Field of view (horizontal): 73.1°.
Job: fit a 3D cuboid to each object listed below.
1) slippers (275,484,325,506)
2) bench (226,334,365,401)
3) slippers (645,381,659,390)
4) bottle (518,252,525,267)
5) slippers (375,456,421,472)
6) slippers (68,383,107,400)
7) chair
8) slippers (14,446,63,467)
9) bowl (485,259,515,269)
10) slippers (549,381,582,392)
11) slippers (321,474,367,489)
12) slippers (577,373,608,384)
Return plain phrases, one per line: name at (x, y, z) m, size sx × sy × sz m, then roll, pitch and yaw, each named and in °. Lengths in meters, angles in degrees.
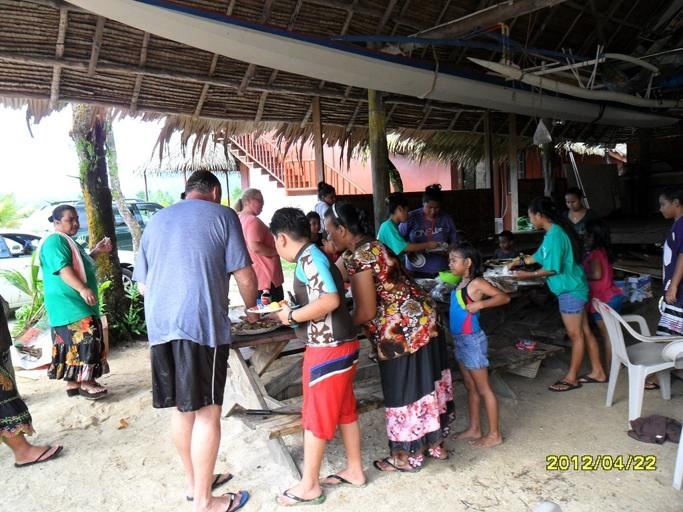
slippers at (-0.267, 1.599, 3.074) m, size 0.228 × 0.048 × 0.124 m, roll 4°, pitch 10°, yaw -2°
bench at (-0.616, 0.921, 3.846) m, size 0.749 × 0.406 × 0.700 m, roll -3°, pitch 3°, yaw -29°
slippers at (2.979, 1.250, 4.455) m, size 0.173 × 0.042 × 0.062 m, roll -11°, pitch 36°, yaw 6°
bottle at (1.955, 0.041, 5.055) m, size 0.069 × 0.185 × 0.079 m, roll 2°, pitch -2°, yaw 29°
slippers at (0.399, 1.499, 3.368) m, size 0.306 × 0.072 × 0.116 m, roll 3°, pitch 1°, yaw 8°
slippers at (-2.573, 1.366, 4.742) m, size 0.444 × 0.125 × 0.170 m, roll 1°, pitch 5°, yaw 14°
chair at (2.654, 1.009, 4.177) m, size 0.878 × 1.065 × 0.748 m, roll -9°, pitch 15°, yaw 0°
slippers at (-2.381, 1.592, 3.653) m, size 0.253 × 0.038 × 0.127 m, roll -2°, pitch 2°, yaw -18°
bowl at (1.827, 0.087, 5.413) m, size 0.183 × 0.064 × 0.174 m, roll 7°, pitch 6°, yaw -1°
slippers at (2.188, 1.277, 4.525) m, size 0.305 × 0.080 × 0.112 m, roll -1°, pitch 4°, yaw -7°
slippers at (0.007, 1.562, 3.229) m, size 0.280 × 0.064 × 0.106 m, roll 5°, pitch -16°, yaw 1°
slippers at (2.492, 1.239, 4.632) m, size 0.294 × 0.061 × 0.105 m, roll 1°, pitch 3°, yaw 8°
